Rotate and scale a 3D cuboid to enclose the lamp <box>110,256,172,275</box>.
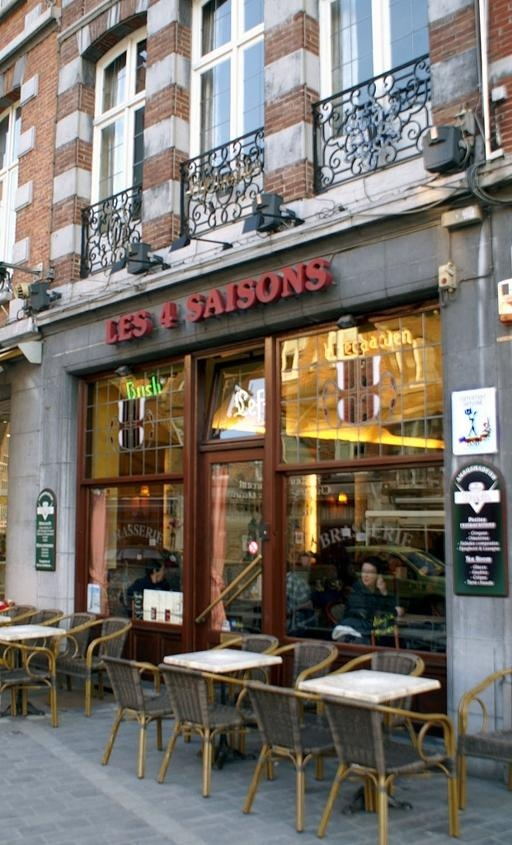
[{"bbox_3d":[-1.220,-1.682,9.363,0.373,0.166,0.373,-4,5,-39],"label":"lamp"}]

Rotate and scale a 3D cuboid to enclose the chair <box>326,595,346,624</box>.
[{"bbox_3d":[0.639,1.587,7.337,0.169,0.242,0.175,-4,-24,11],"label":"chair"}]

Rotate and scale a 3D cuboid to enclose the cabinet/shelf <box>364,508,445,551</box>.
[{"bbox_3d":[1.140,0.831,6.766,0.111,0.321,0.828,4,-9,-31],"label":"cabinet/shelf"}]

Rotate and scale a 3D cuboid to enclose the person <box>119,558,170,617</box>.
[{"bbox_3d":[-1.194,1.804,9.422,0.140,0.623,0.898,4,-9,-29],"label":"person"}]

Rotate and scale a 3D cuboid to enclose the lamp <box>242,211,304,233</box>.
[{"bbox_3d":[0.175,-1.762,7.695,0.285,0.174,0.374,-1,0,44],"label":"lamp"}]
